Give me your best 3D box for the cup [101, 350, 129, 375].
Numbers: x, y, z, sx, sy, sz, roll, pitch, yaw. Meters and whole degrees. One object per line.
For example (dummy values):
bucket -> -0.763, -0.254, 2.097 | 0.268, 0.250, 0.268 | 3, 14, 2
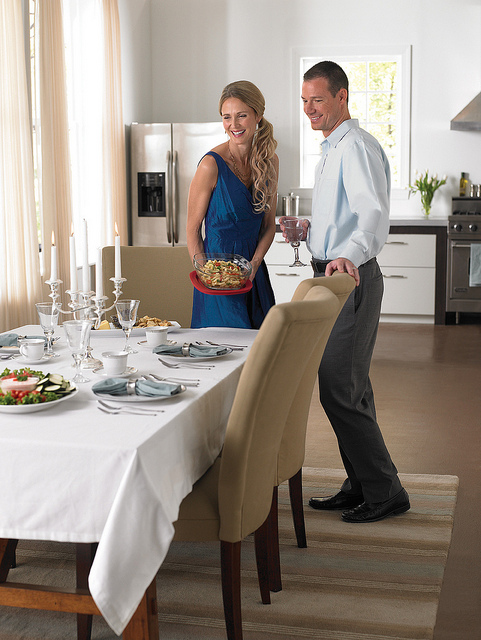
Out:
cup -> -0.291, 0.102, 1.252 | 0.050, 0.045, 0.055 | -1, -5, 0

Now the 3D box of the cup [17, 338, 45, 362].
cup -> -0.540, 0.071, 1.412 | 0.060, 0.048, 0.066 | 4, 9, 14

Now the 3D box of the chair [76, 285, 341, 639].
chair -> -0.083, 0.214, 1.568 | 0.784, 1.140, 0.665 | 2, 2, 11

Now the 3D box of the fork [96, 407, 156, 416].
fork -> -0.204, 0.163, 0.944 | 0.120, 0.005, 0.032 | 2, 6, 19

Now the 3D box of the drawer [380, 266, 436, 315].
drawer -> 1.828, -0.316, 6.059 | 0.786, 0.583, 0.777 | 1, 3, 11

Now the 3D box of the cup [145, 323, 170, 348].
cup -> -0.252, 0.047, 1.641 | 0.073, 0.062, 0.078 | -2, -5, 0
